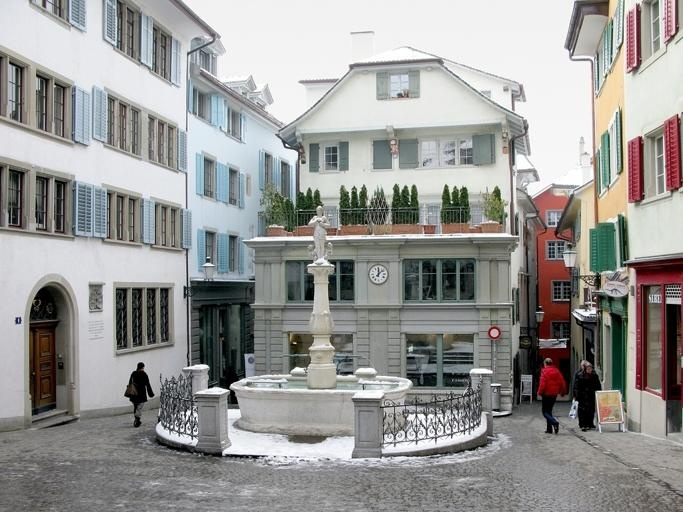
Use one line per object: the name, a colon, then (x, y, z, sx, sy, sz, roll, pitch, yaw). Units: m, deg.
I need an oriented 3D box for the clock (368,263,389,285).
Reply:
clock: (1.534, 0.718, 30.683, 0.703, 0.843, 0.102, 1, -4, 10)

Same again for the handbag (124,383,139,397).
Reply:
handbag: (-6.482, 4.101, 23.350, 0.430, 0.448, 0.235, -5, -7, 28)

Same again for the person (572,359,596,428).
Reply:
person: (7.279, 4.135, 22.655, 0.637, 2.039, 1.030, -3, -6, 17)

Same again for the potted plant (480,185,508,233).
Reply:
potted plant: (6.325, -1.969, 31.409, 0.885, 2.119, 2.544, -3, -6, 12)

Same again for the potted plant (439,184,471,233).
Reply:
potted plant: (4.649, -1.947, 31.069, 1.171, 1.974, 0.824, -3, -6, 8)

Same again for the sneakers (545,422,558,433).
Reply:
sneakers: (6.164, 5.012, 22.254, 0.188, 0.277, 0.596, 1, -4, -1)

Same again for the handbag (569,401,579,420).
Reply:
handbag: (6.897, 4.513, 22.574, 0.250, 0.498, 0.761, -3, -7, 16)
